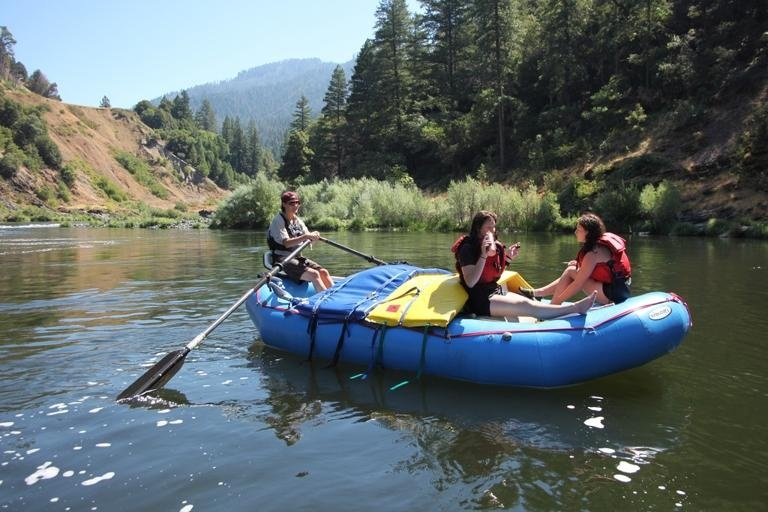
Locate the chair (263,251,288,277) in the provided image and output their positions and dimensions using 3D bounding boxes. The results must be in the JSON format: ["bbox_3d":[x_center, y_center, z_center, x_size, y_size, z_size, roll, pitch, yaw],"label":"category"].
[{"bbox_3d":[-2.052,0.153,9.691,0.501,0.416,0.411,3,10,14],"label":"chair"}]

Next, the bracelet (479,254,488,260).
[{"bbox_3d":[1.387,0.023,7.391,0.073,0.066,0.017,0,22,29],"label":"bracelet"}]

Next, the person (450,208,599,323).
[{"bbox_3d":[1.926,0.154,7.247,0.940,1.405,2.153,-6,6,-36],"label":"person"}]

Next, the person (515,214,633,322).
[{"bbox_3d":[2.760,0.135,7.795,1.707,1.314,0.946,0,5,14],"label":"person"}]
